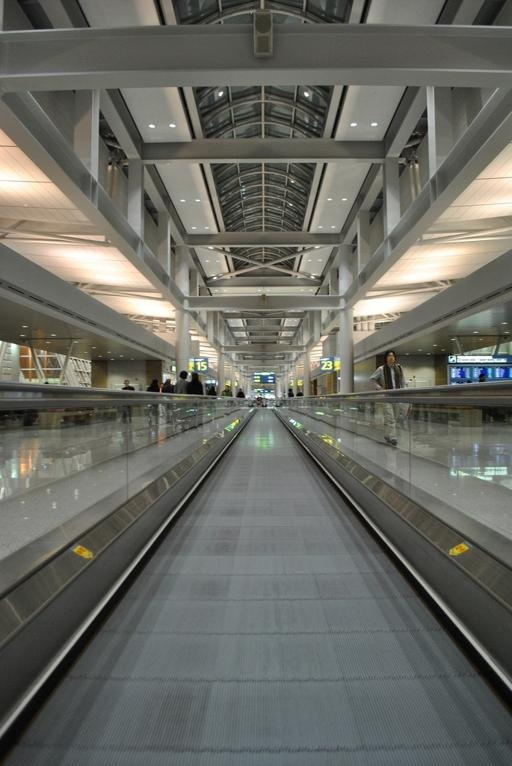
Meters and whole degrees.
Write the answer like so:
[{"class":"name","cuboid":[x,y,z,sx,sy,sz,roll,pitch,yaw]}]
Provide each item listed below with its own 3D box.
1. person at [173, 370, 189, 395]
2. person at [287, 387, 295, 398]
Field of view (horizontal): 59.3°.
[{"class":"person","cuboid":[-2.017,0.043,12.113,0.316,0.595,1.359,2,-3,-10]},{"class":"person","cuboid":[4.661,1.525,60.725,0.959,2.203,1.074,-1,-12,3]}]
